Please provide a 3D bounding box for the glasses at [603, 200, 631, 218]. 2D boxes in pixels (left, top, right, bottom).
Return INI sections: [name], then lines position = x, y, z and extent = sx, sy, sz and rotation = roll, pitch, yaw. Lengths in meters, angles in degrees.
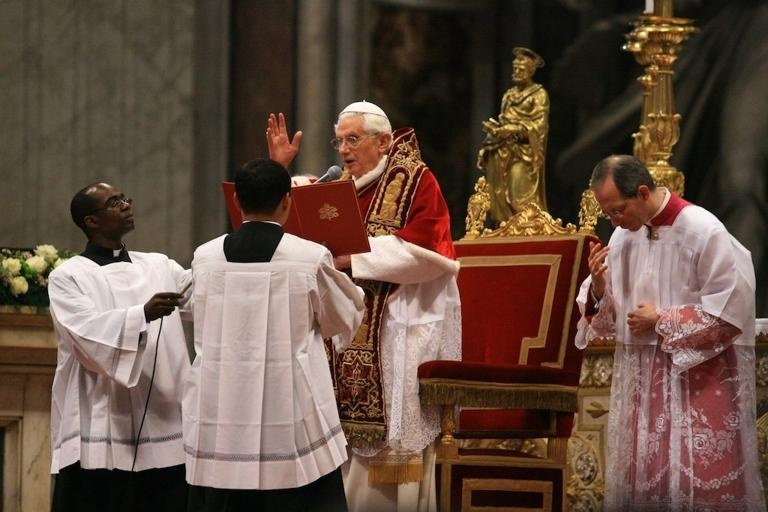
[glasses]
position = 1.387, -0.274, 9.050
extent = 0.098, 0.045, 0.104
rotation = -12, 8, 34
